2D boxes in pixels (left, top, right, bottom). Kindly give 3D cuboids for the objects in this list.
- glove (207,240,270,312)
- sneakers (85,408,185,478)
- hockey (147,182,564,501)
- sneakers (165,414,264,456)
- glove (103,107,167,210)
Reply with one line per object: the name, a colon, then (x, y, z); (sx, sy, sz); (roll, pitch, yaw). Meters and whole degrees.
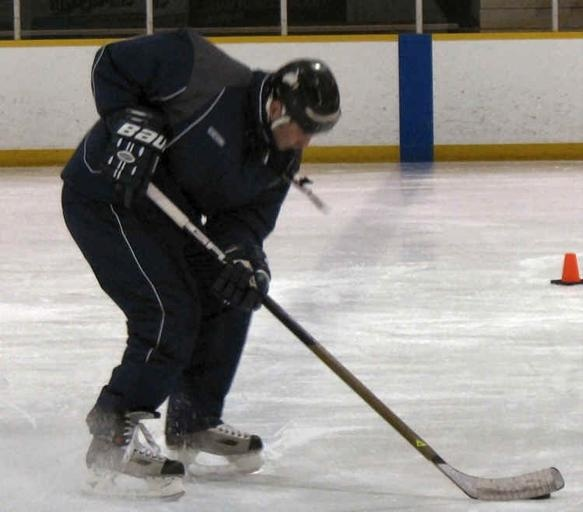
glove: (-0.134, 0.035, 2.712); (0.137, 0.171, 0.078); (28, -34, -25)
sneakers: (-0.370, 0.463, 2.627); (0.289, 0.159, 0.099); (6, 0, 19)
hockey: (0.203, 0.267, 3.254); (1.422, 0.052, 0.199); (41, 25, 10)
sneakers: (-0.209, 0.472, 2.818); (0.270, 0.093, 0.078); (8, -3, -6)
glove: (-0.380, -0.234, 2.659); (0.178, 0.227, 0.085); (14, -6, 14)
